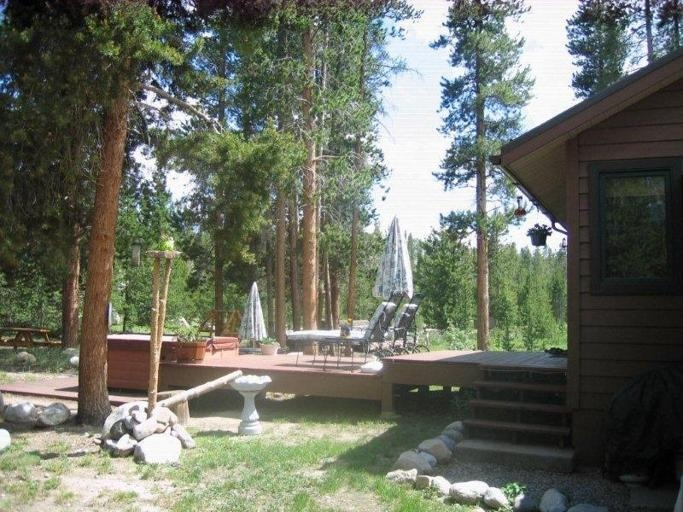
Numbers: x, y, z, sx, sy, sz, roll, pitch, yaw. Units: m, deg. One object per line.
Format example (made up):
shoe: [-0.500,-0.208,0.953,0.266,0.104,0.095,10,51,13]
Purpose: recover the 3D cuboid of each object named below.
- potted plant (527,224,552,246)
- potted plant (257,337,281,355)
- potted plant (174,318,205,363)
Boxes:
potted plant: [4.192,-0.430,14.273,0.422,0.456,0.429,-2,-3,41]
potted plant: [-2.077,2.479,18.471,0.664,0.556,0.736,-1,-3,3]
potted plant: [-3.127,1.839,13.701,0.600,0.566,0.811,-1,4,-12]
